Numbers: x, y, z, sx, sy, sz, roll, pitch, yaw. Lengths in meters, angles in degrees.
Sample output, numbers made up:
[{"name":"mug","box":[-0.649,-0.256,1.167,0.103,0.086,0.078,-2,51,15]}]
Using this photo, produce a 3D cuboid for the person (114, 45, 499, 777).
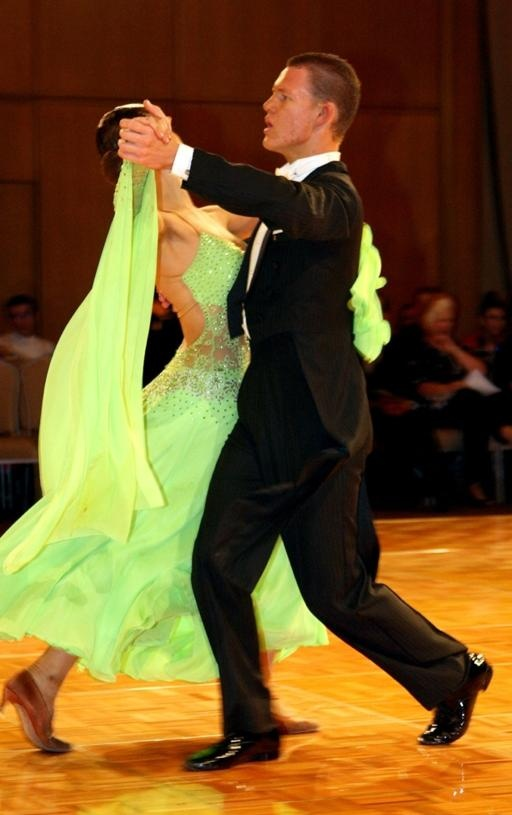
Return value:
[{"name":"person","box":[0.084,-0.009,1.576,0.508,1.408,0.829,-5,-8,24]}]

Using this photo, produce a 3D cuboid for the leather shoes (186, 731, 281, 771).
[{"name":"leather shoes","box":[-0.038,0.641,1.536,0.208,0.070,0.071,0,-1,-12]}]

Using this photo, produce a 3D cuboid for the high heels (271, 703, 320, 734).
[{"name":"high heels","box":[0.082,0.711,1.870,0.137,0.046,0.040,0,-7,0]}]
